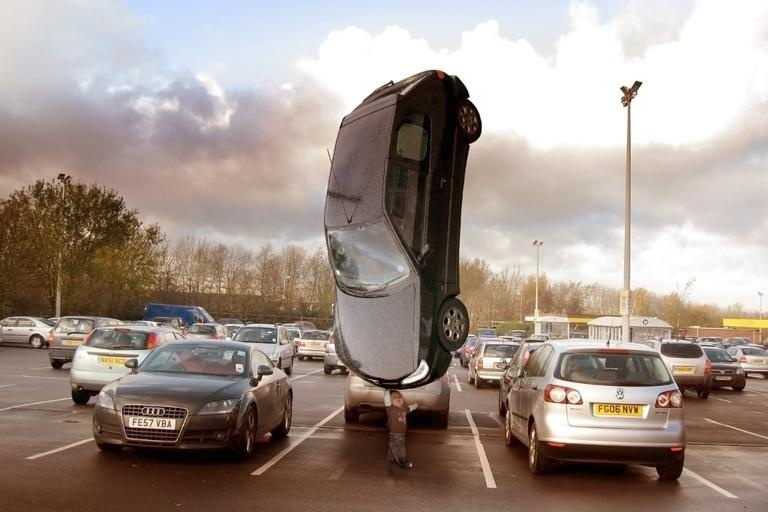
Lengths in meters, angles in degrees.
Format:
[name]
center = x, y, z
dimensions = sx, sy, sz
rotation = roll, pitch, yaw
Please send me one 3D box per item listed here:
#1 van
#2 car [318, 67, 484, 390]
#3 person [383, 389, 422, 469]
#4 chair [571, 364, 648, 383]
[van]
center = 3.393, 2.427, 9.669
dimensions = 1.733, 1.450, 3.133
rotation = 2, -3, -4
[car]
center = 0.630, -0.378, 9.763
dimensions = 2.650, 4.862, 1.763
rotation = 7, 11, 40
[person]
center = 0.256, 2.989, 10.618
dimensions = 0.524, 1.321, 1.202
rotation = 2, -7, 1
[chair]
center = 3.597, 1.949, 9.789
dimensions = 1.136, 0.311, 0.206
rotation = 1, -40, 5
